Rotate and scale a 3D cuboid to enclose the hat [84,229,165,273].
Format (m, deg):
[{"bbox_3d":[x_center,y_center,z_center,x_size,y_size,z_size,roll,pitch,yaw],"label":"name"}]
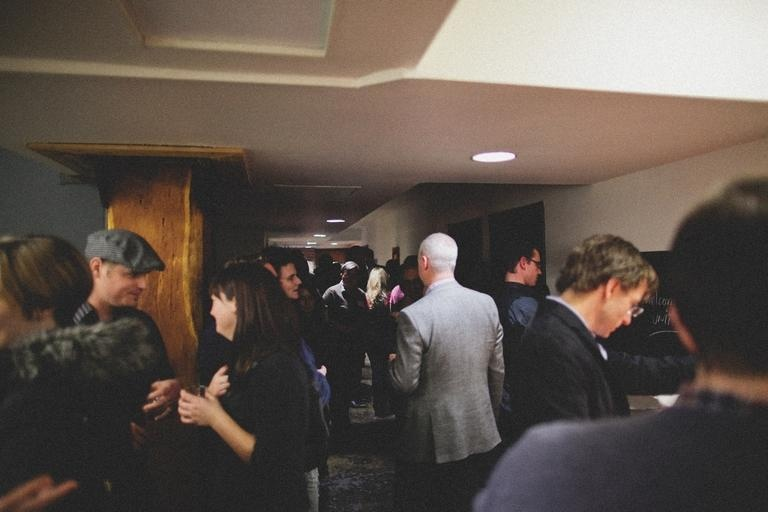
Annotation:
[{"bbox_3d":[-1.041,-0.021,2.212,0.219,0.103,0.153,11,5,-25],"label":"hat"}]

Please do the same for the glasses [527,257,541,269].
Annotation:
[{"bbox_3d":[1.011,0.053,3.679,0.088,0.026,0.086,10,-8,33],"label":"glasses"}]

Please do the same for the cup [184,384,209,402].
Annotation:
[{"bbox_3d":[-0.781,0.574,2.307,0.068,0.049,0.068,-1,-6,0],"label":"cup"}]
